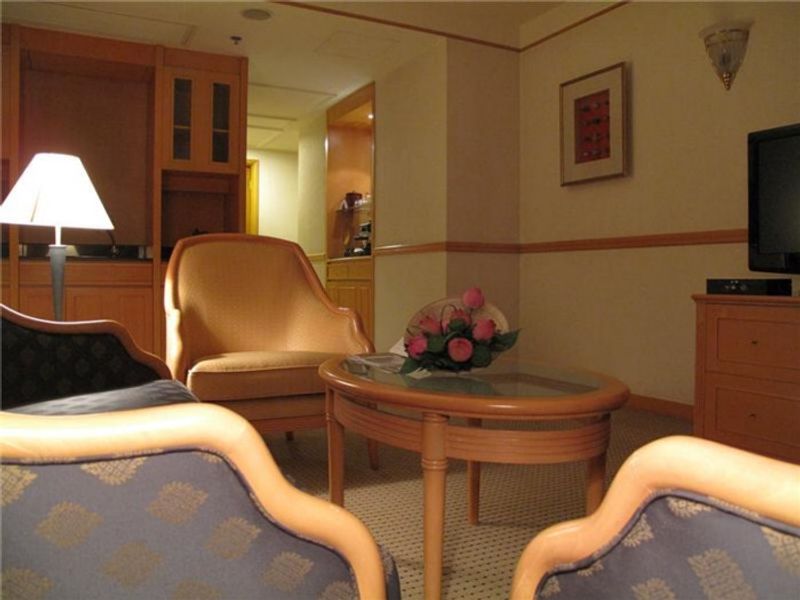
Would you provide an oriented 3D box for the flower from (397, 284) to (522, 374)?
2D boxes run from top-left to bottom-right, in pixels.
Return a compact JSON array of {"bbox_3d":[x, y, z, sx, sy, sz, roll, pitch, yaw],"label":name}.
[{"bbox_3d":[0.147,0.130,1.660,0.281,0.155,0.261,-10,9,29],"label":"flower"}]

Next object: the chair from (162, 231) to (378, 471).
[{"bbox_3d":[-0.628,0.163,2.781,0.864,1.320,1.018,1,-6,-24],"label":"chair"}]

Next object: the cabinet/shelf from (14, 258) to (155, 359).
[{"bbox_3d":[-1.718,0.009,3.275,0.635,0.634,0.225,0,0,-28],"label":"cabinet/shelf"}]

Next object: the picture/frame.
[{"bbox_3d":[1.280,-1.155,4.053,0.140,0.722,0.611,-3,10,-21],"label":"picture/frame"}]

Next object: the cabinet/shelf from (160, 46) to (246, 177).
[{"bbox_3d":[-1.521,-1.449,4.712,0.634,0.898,0.234,-3,10,-22],"label":"cabinet/shelf"}]
